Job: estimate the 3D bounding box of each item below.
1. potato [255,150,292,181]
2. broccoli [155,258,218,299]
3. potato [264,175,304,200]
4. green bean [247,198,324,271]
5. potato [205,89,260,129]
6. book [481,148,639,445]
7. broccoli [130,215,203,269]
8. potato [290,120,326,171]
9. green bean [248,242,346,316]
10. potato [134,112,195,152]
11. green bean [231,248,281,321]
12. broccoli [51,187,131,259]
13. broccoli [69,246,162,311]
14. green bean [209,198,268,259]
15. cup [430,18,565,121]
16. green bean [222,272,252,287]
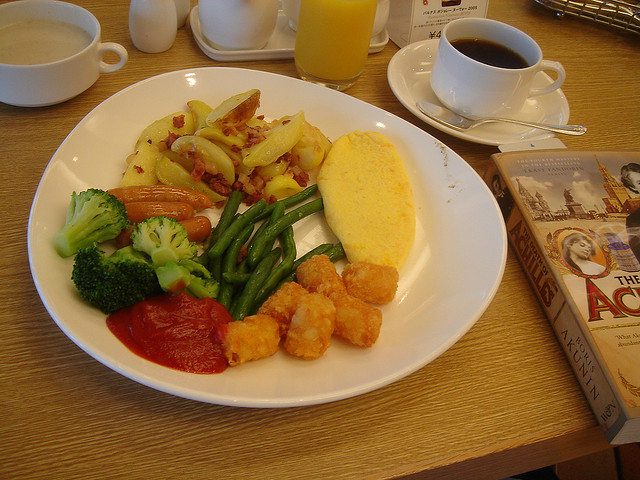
[{"bbox_3d":[-0.184,-0.297,1.979,0.132,0.099,0.039,-25,89,-58],"label":"potato"},{"bbox_3d":[-0.424,0.124,1.593,0.142,0.054,0.142,45,24,29],"label":"broccoli"},{"bbox_3d":[-0.139,-0.203,1.964,0.113,0.046,0.095,22,49,10],"label":"potato"},{"bbox_3d":[-0.129,-0.100,1.826,0.387,0.198,0.245,-4,34,-6],"label":"green bean"},{"bbox_3d":[-0.345,-0.509,1.960,0.207,0.085,0.155,-23,38,-31],"label":"potato"},{"bbox_3d":[0.893,0.116,1.901,0.917,0.199,1.032,3,58,-21],"label":"book"},{"bbox_3d":[-0.512,0.001,1.630,0.165,0.067,0.177,16,45,-17],"label":"broccoli"},{"bbox_3d":[-0.047,-0.363,2.014,0.139,0.103,0.191,4,61,-9],"label":"potato"},{"bbox_3d":[-0.086,0.141,1.699,0.297,0.054,0.039,-41,56,-17],"label":"green bean"},{"bbox_3d":[-0.606,-0.434,1.989,0.217,0.057,0.136,-33,69,-16],"label":"potato"},{"bbox_3d":[-0.226,0.162,1.734,0.202,0.170,0.145,-8,30,-20],"label":"green bean"},{"bbox_3d":[-0.761,-0.058,1.660,0.242,0.117,0.226,-4,68,-11],"label":"broccoli"},{"bbox_3d":[-0.683,0.169,1.637,0.266,0.324,0.162,1,57,-20],"label":"broccoli"},{"bbox_3d":[-0.274,-0.071,1.868,0.068,0.065,0.402,28,38,7],"label":"green bean"},{"bbox_3d":[0.780,-0.715,2.206,0.497,0.326,0.395,15,51,9],"label":"cup"},{"bbox_3d":[-0.279,0.130,1.699,0.120,0.036,0.039,4,22,-48],"label":"green bean"}]
